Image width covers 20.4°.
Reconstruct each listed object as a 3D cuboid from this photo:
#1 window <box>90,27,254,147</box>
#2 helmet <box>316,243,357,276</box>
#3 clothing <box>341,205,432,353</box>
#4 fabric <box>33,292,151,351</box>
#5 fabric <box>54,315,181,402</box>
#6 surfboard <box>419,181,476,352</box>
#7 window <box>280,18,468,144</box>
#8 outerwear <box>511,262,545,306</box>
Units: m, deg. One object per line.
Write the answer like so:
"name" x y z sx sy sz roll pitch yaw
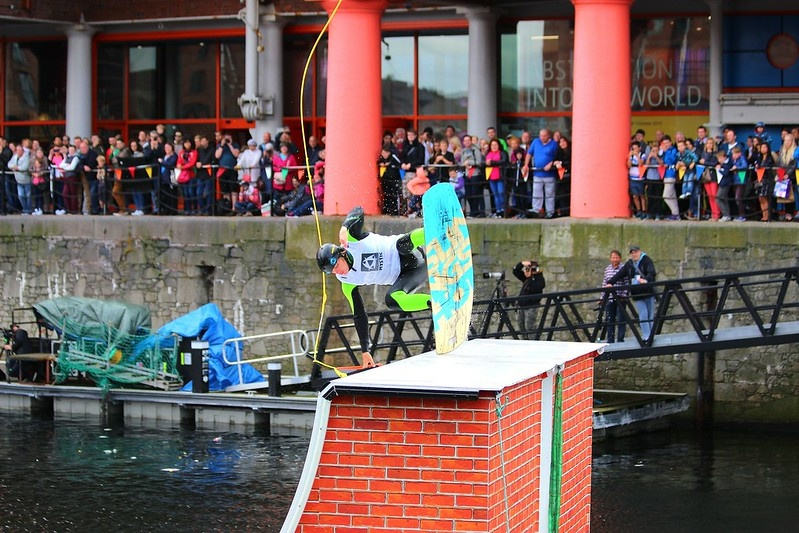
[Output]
"window" -6.363 -4.711 62.545 4.755 3.415 0.188 -1 -4 7
"helmet" -1.277 -0.128 43.027 0.645 0.542 0.469 11 -32 -31
"clothing" -0.222 0.336 46.712 2.700 2.380 1.503 30 23 37
"fabric" -7.361 1.328 54.421 1.816 0.680 1.342 9 1 2
"fabric" -6.536 2.330 54.562 2.508 1.080 1.596 2 5 5
"surfboard" 0.890 0.002 42.262 0.879 3.284 0.439 -2 -7 -23
"window" -0.673 -4.590 60.213 5.854 4.335 0.469 -1 -22 2
"outerwear" 3.029 0.409 51.629 0.653 1.386 0.453 -15 -28 40
